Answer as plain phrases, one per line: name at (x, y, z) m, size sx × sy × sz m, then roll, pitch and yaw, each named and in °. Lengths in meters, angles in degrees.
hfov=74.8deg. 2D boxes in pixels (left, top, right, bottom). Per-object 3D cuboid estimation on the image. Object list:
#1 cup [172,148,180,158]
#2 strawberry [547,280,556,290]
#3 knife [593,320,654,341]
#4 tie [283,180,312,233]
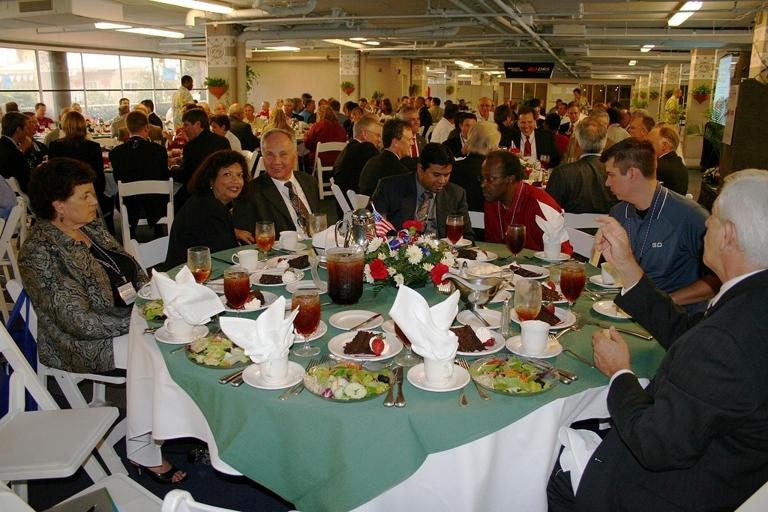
cup at (-3.446, -1.708, 8.353) m, size 0.154 × 0.139 × 0.153 m, roll 0°, pitch 10°, yaw 0°
strawberry at (0.832, 0.143, 2.532) m, size 0.034 × 0.042 × 0.034 m, roll 19°, pitch 3°, yaw -18°
knife at (1.004, 0.315, 2.112) m, size 0.241 × 0.041 × 0.050 m, roll 10°, pitch 24°, yaw 24°
tie at (-0.692, -0.376, 3.957) m, size 0.117 × 0.488 × 0.127 m, roll -20°, pitch 20°, yaw 10°
